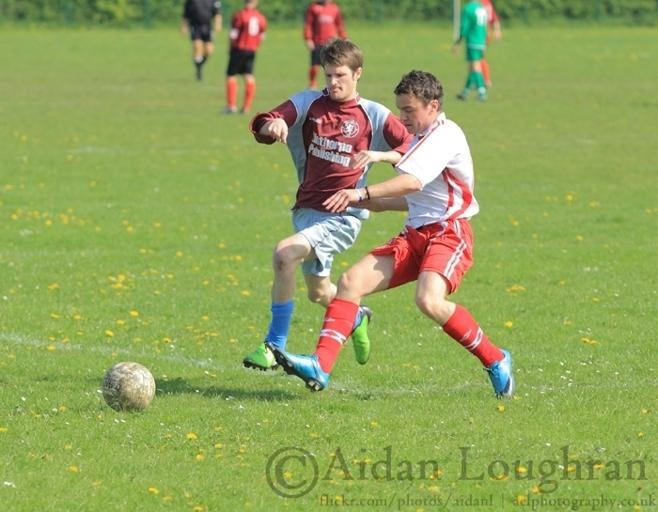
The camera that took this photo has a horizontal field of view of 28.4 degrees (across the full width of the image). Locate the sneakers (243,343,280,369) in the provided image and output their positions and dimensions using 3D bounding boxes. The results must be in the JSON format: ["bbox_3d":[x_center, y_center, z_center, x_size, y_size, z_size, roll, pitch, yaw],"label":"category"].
[{"bbox_3d":[-0.617,0.960,12.276,0.166,0.231,0.460,-1,-4,38],"label":"sneakers"}]

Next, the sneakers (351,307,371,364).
[{"bbox_3d":[0.338,0.791,12.763,0.176,0.553,0.243,1,-9,14],"label":"sneakers"}]

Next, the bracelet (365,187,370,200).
[{"bbox_3d":[0.338,-0.545,11.668,0.029,0.082,0.062,-4,11,-17],"label":"bracelet"}]

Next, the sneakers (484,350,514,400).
[{"bbox_3d":[1.610,1.141,12.126,0.176,0.508,0.238,-18,-19,37],"label":"sneakers"}]

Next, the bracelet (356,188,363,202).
[{"bbox_3d":[0.264,-0.541,11.670,0.081,0.084,0.067,1,2,-1],"label":"bracelet"}]

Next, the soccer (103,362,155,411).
[{"bbox_3d":[-1.833,1.197,11.857,0.469,0.411,0.223,-1,13,-11],"label":"soccer"}]
